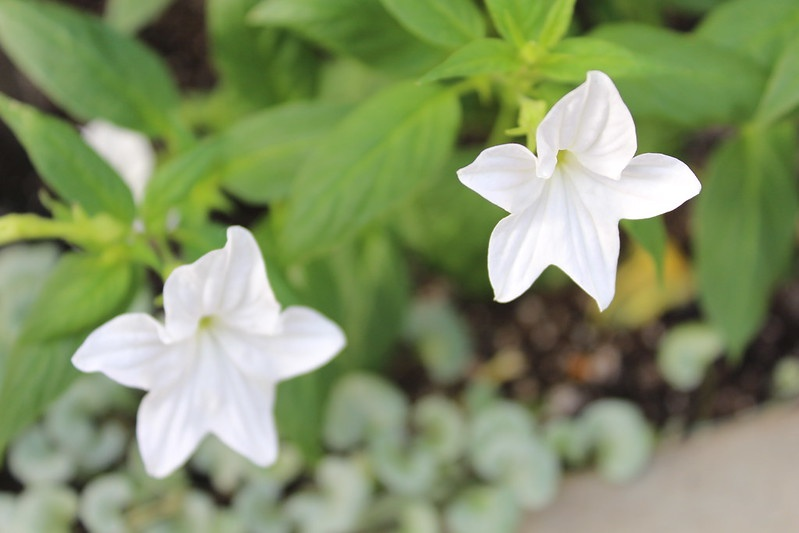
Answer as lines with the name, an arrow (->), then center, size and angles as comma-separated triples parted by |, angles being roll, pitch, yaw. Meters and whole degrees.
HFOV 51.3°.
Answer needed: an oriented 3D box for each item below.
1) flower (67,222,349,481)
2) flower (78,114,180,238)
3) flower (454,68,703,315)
flower -> -0.155, 0.076, 0.701 | 0.206, 0.165, 0.129 | -30, 49, -17
flower -> -0.251, -0.104, 0.762 | 0.060, 0.061, 0.044 | 30, 58, 32
flower -> 0.148, -0.062, 0.690 | 0.183, 0.168, 0.110 | -30, 49, -17
